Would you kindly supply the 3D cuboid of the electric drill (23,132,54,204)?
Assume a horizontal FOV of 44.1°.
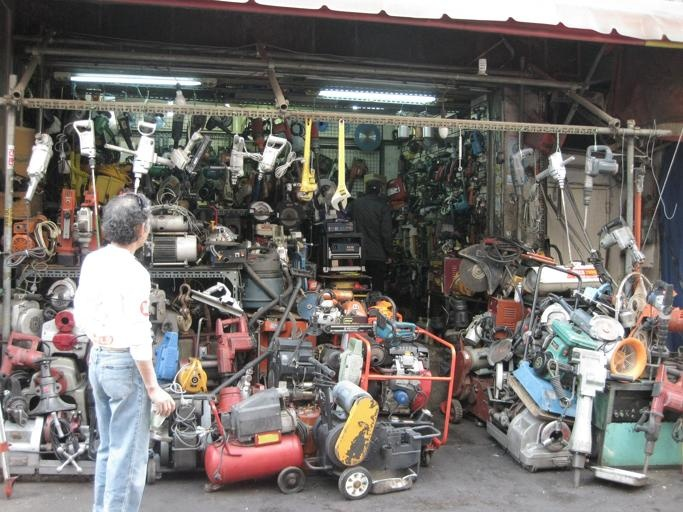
[{"bbox_3d":[-3.043,-0.894,8.431,0.278,0.706,0.287,-1,3,-29],"label":"electric drill"}]
